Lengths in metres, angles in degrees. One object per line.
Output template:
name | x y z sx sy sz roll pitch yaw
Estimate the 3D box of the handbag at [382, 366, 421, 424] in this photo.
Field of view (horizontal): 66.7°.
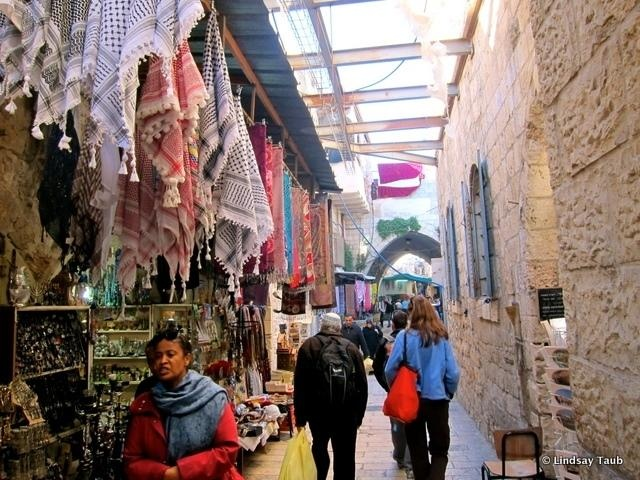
handbag | 0.731 1.383 4.375 0.307 0.470 0.188 -2 -12 6
